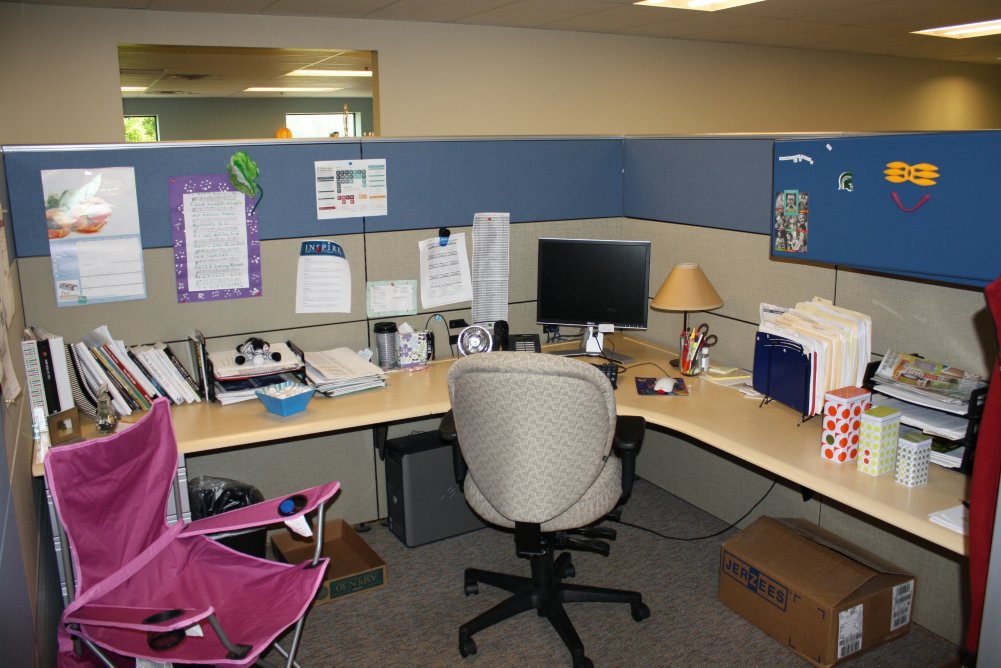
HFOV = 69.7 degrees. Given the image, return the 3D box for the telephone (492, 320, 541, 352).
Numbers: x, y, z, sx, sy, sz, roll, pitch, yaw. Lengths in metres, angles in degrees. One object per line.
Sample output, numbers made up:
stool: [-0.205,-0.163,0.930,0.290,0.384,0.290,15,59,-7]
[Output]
telephone: [0.082,0.032,3.902,0.232,0.258,0.146,1,31,4]

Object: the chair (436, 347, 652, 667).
chair: [0.187,0.811,3.217,1.030,1.446,0.915,3,22,10]

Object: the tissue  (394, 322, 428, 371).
tissue : [-0.488,0.079,3.869,0.223,0.318,0.105,-3,16,-23]

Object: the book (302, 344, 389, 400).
book: [-0.817,0.179,3.617,0.269,0.095,0.275,-12,28,-34]

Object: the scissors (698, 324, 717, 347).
scissors: [1.088,0.006,3.801,0.121,0.123,0.045,-10,-5,32]

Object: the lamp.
lamp: [0.977,-0.092,3.801,0.371,0.558,0.375,-13,19,-26]

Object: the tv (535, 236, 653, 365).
tv: [0.500,-0.194,3.891,0.683,0.683,0.230,1,8,11]

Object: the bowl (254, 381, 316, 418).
bowl: [-0.991,0.298,3.318,0.163,0.086,0.189,6,5,43]

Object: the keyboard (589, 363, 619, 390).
keyboard: [0.545,0.207,3.590,0.154,0.155,0.056,3,-11,3]

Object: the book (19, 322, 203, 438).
book: [-1.757,0.179,3.236,0.586,0.274,0.431,1,3,-32]

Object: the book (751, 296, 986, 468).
book: [1.525,0.195,3.107,0.940,0.534,0.546,11,21,39]

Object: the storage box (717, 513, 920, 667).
storage box: [1.415,1.063,3.282,0.584,0.371,0.587,-3,16,-37]

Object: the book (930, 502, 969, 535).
book: [1.615,0.658,2.572,0.092,0.022,0.088,-10,14,-30]
